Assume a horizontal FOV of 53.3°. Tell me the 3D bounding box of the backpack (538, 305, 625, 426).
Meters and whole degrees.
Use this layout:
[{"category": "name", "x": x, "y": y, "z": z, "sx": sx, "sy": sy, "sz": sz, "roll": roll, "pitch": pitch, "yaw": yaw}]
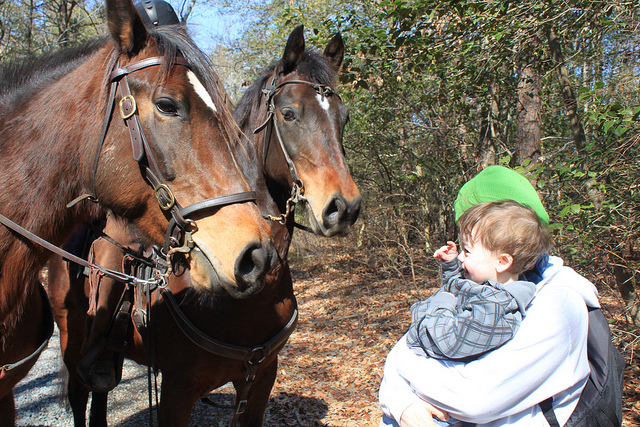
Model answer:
[{"category": "backpack", "x": 2.211, "y": 1.258, "z": 5.140, "sx": 0.632, "sy": 0.919, "sz": 0.279, "roll": -18, "pitch": 8, "yaw": -40}]
